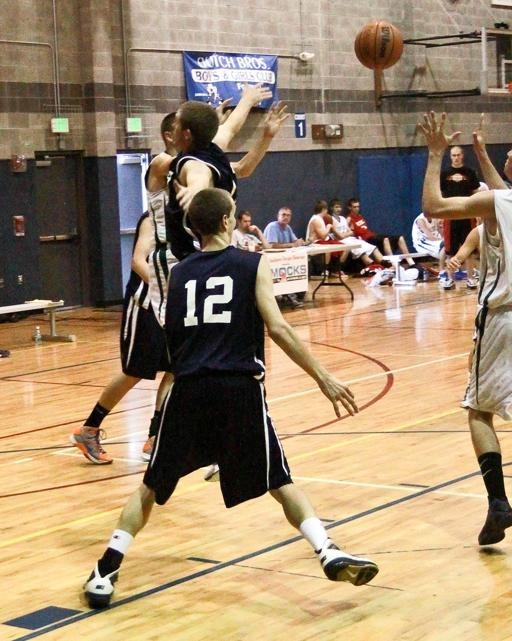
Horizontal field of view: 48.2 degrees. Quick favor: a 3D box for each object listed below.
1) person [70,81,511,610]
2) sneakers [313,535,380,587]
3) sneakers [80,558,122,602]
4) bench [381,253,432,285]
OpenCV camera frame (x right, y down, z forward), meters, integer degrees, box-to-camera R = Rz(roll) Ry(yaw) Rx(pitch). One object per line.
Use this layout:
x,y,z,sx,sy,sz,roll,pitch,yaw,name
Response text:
0.194,0.031,1.804,1.408,1.659,0.679,-3,-6,-28,person
0.223,0.603,1.461,0.178,0.064,0.120,23,16,-31,sneakers
-0.455,0.763,1.673,0.059,0.062,0.155,4,-2,-2,sneakers
3.565,-1.208,13.835,0.833,0.670,1.139,-1,8,23,bench
